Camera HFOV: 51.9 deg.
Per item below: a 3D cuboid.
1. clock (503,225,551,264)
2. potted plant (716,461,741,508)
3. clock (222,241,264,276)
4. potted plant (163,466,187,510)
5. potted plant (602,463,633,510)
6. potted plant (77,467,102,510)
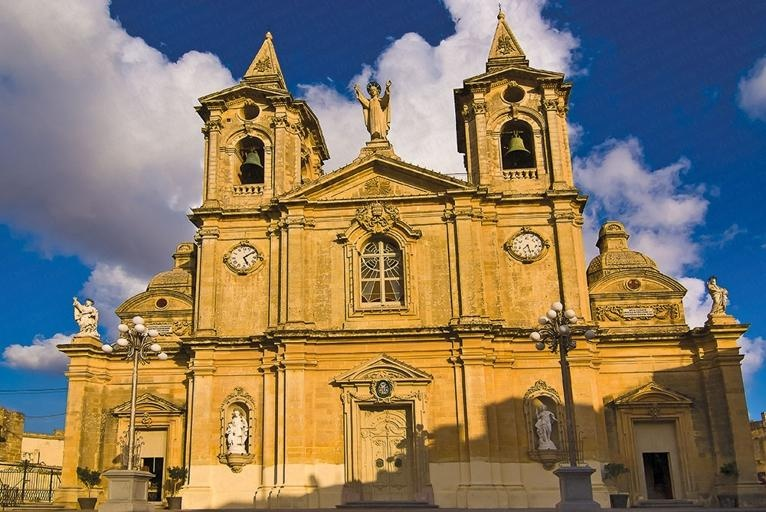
[{"bbox_3d":[8.072,-0.566,43.878,2.363,2.110,0.281,-1,-25,-1],"label":"clock"},{"bbox_3d":[17.719,11.769,40.541,1.193,2.273,0.558,-6,-24,12],"label":"potted plant"},{"bbox_3d":[-7.969,0.206,44.815,2.001,1.771,0.312,2,-20,-1],"label":"clock"},{"bbox_3d":[-11.038,12.349,41.789,0.922,2.274,1.592,7,-24,-18],"label":"potted plant"},{"bbox_3d":[12.143,11.887,40.599,1.026,2.247,1.604,-21,-30,39],"label":"potted plant"},{"bbox_3d":[-15.819,12.445,42.063,1.252,2.230,1.199,7,-24,-17],"label":"potted plant"}]
